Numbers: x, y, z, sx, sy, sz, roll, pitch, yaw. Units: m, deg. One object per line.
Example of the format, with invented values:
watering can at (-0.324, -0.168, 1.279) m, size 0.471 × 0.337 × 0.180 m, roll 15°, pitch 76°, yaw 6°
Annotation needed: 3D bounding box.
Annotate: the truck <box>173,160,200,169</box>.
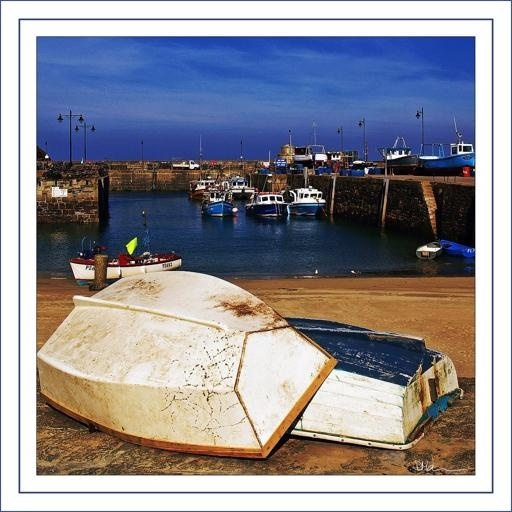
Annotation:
truck at (-11.073, -14.257, 98.862) m, size 4.512 × 1.448 × 3.353 m, roll -2°, pitch 10°, yaw 5°
